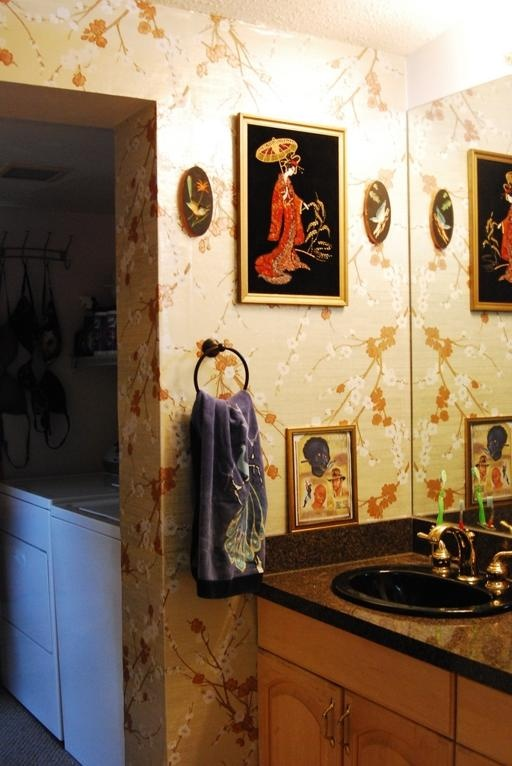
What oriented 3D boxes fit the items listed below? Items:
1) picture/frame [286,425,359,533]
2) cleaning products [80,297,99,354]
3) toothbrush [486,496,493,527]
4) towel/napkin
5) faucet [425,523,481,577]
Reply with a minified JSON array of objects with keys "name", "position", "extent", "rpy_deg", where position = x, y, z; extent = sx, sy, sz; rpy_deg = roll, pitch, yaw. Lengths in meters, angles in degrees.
[{"name":"picture/frame","position":[0.179,0.273,1.703],"extent":[0.294,0.383,0.024],"rpy_deg":[1,-3,-35]},{"name":"cleaning products","position":[-0.917,-0.317,3.334],"extent":[0.086,0.344,0.078],"rpy_deg":[1,11,17]},{"name":"toothbrush","position":[0.620,0.346,1.588],"extent":[0.015,0.082,0.033],"rpy_deg":[3,-5,13]},{"name":"towel/napkin","position":[-0.067,0.257,1.434],"extent":[0.199,0.489,0.121],"rpy_deg":[4,-5,-5]},{"name":"faucet","position":[0.489,0.429,1.516],"extent":[0.131,0.150,0.084],"rpy_deg":[7,-17,-10]}]
